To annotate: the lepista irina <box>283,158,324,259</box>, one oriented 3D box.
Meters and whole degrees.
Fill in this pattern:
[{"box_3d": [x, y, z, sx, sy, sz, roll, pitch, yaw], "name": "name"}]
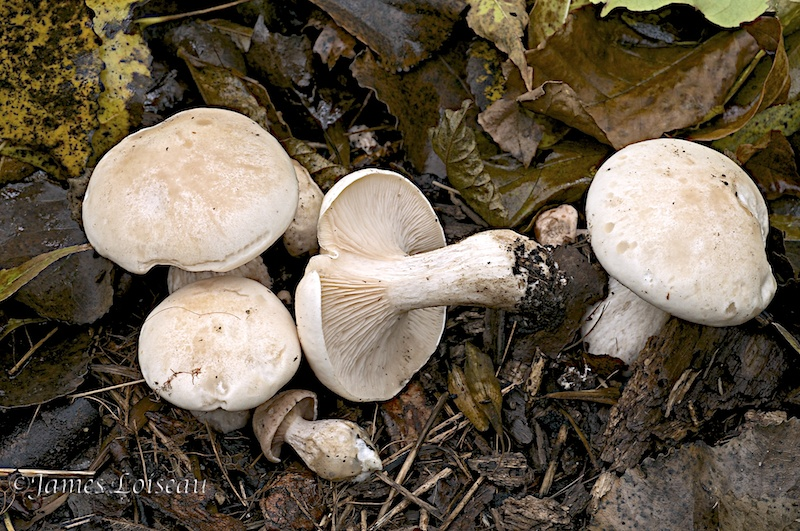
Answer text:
[{"box_3d": [-0.592, -0.322, 4.740, 0.126, 0.417, 0.481, 0, 95, 19], "name": "lepista irina"}]
